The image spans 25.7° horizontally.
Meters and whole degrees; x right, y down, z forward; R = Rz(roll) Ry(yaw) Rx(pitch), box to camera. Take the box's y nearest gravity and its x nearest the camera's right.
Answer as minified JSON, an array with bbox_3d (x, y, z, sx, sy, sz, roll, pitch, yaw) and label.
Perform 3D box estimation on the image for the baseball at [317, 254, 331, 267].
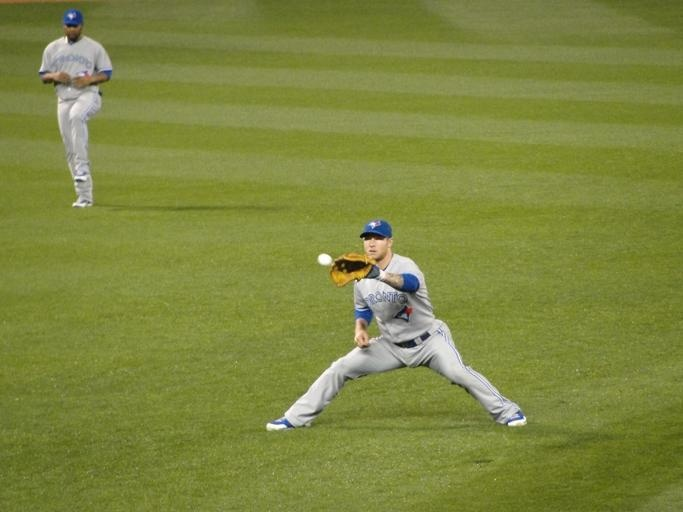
[{"bbox_3d":[-0.210,0.056,17.737,0.160,0.075,0.154,-1,7,-33],"label":"baseball"}]

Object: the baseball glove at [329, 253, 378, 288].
[{"bbox_3d":[0.061,0.168,17.452,0.475,0.398,0.203,7,-31,37],"label":"baseball glove"}]

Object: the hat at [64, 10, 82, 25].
[{"bbox_3d":[-4.051,-3.528,22.361,0.238,0.176,0.316,2,20,-8],"label":"hat"}]

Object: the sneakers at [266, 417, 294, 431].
[{"bbox_3d":[-0.764,2.009,17.919,0.306,0.119,0.156,3,-3,1],"label":"sneakers"}]

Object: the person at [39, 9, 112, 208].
[{"bbox_3d":[-4.019,-2.194,22.610,1.018,2.950,0.617,-1,14,-2],"label":"person"}]

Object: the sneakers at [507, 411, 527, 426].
[{"bbox_3d":[2.067,1.925,17.775,0.242,0.149,0.140,-6,12,-11],"label":"sneakers"}]
